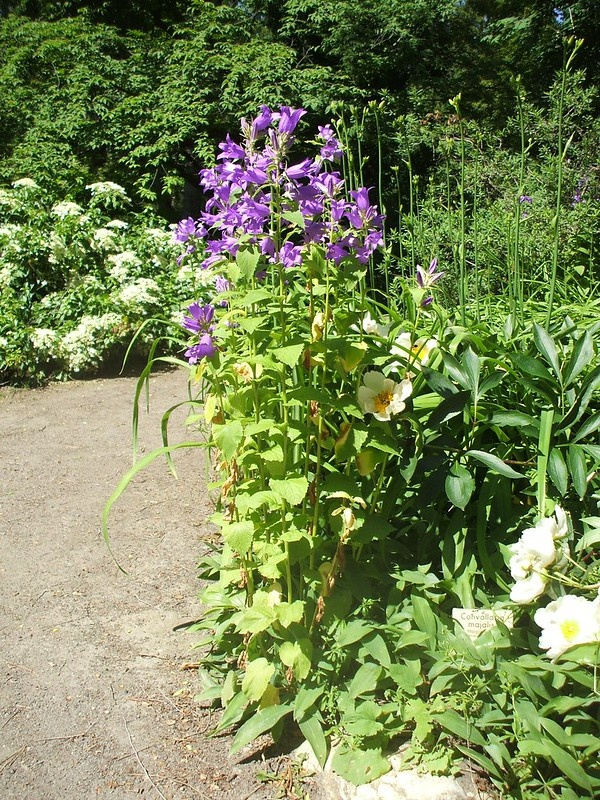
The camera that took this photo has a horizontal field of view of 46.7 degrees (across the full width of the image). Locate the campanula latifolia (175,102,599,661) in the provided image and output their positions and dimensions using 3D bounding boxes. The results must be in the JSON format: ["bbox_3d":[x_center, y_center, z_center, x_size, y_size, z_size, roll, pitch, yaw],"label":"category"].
[{"bbox_3d":[0.245,0.067,1.883,1.089,1.602,0.952,-8,13,-13],"label":"campanula latifolia"}]
